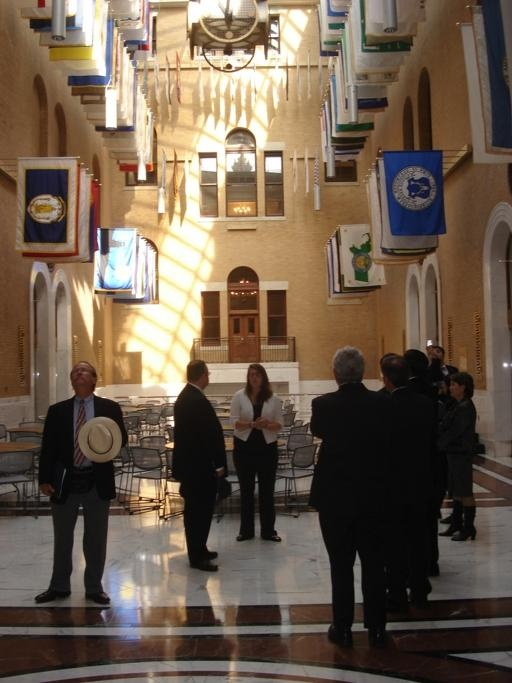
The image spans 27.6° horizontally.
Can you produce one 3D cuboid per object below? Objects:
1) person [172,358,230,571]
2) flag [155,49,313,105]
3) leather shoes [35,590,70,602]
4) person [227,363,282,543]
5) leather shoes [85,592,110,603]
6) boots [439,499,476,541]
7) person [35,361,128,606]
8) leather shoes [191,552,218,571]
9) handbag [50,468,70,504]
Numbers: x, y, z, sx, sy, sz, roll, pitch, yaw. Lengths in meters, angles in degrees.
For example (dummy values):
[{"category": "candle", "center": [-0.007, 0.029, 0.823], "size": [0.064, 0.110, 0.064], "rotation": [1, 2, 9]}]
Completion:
[{"category": "person", "center": [-0.511, 1.030, 8.968], "size": [0.376, 1.744, 0.483], "rotation": [-3, 3, -39]}, {"category": "flag", "center": [-0.467, -6.989, 26.988], "size": [4.477, 1.365, 1.430], "rotation": [-1, 3, 4]}, {"category": "leather shoes", "center": [-1.551, 1.943, 7.934], "size": [0.253, 0.130, 0.093], "rotation": [4, -7, -16]}, {"category": "person", "center": [0.010, 1.029, 9.650], "size": [0.464, 1.680, 0.584], "rotation": [-1, 2, 1]}, {"category": "leather shoes", "center": [-1.196, 1.929, 7.893], "size": [0.193, 0.097, 0.072], "rotation": [-1, -2, 28]}, {"category": "boots", "center": [1.927, 1.694, 9.776], "size": [0.304, 0.449, 0.378], "rotation": [2, -7, -9]}, {"category": "person", "center": [-1.353, 1.064, 7.933], "size": [0.686, 1.814, 0.407], "rotation": [-1, 2, -9]}, {"category": "leather shoes", "center": [-0.431, 1.865, 8.791], "size": [0.094, 0.127, 0.286], "rotation": [4, -12, -35]}, {"category": "handbag", "center": [-1.483, 1.085, 7.865], "size": [0.048, 0.229, 0.190], "rotation": [8, -7, -44]}]
